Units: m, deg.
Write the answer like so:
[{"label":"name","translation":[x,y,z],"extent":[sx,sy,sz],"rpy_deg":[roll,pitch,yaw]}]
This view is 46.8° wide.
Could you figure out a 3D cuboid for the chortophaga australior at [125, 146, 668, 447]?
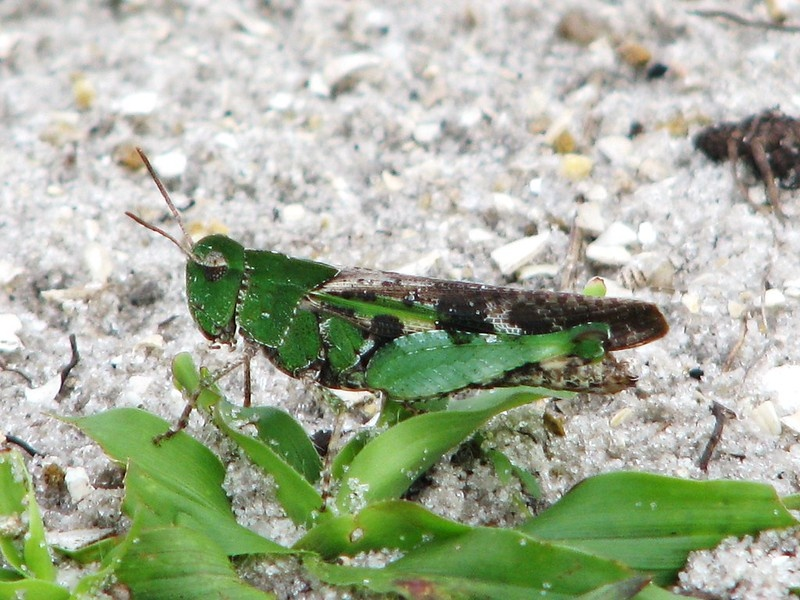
[{"label":"chortophaga australior","translation":[0.013,0.079,2.391],"extent":[1.286,0.497,0.551],"rpy_deg":[3,97,-2]}]
